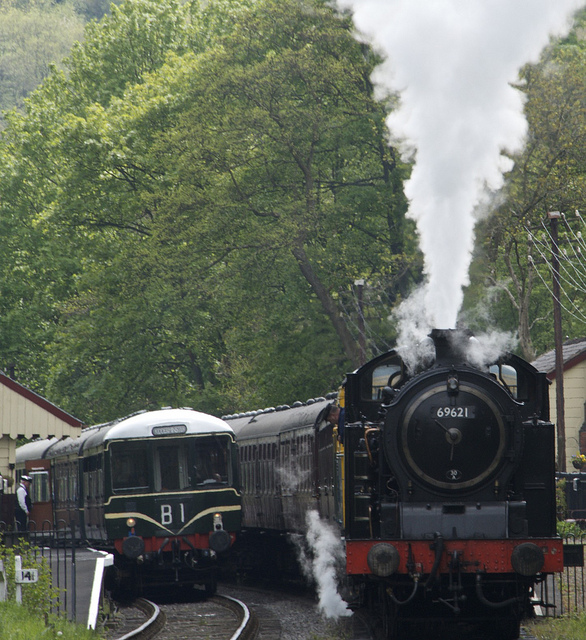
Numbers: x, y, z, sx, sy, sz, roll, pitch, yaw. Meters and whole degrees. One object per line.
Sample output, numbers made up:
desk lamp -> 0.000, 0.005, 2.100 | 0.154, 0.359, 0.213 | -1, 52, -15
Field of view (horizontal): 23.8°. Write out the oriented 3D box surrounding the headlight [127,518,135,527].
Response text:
headlight -> -2.703, 3.401, 23.159 | 0.094, 0.103, 0.106 | -3, -9, -8

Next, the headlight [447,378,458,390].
headlight -> 1.811, 0.742, 15.743 | 0.083, 0.129, 0.036 | -2, -3, 3
